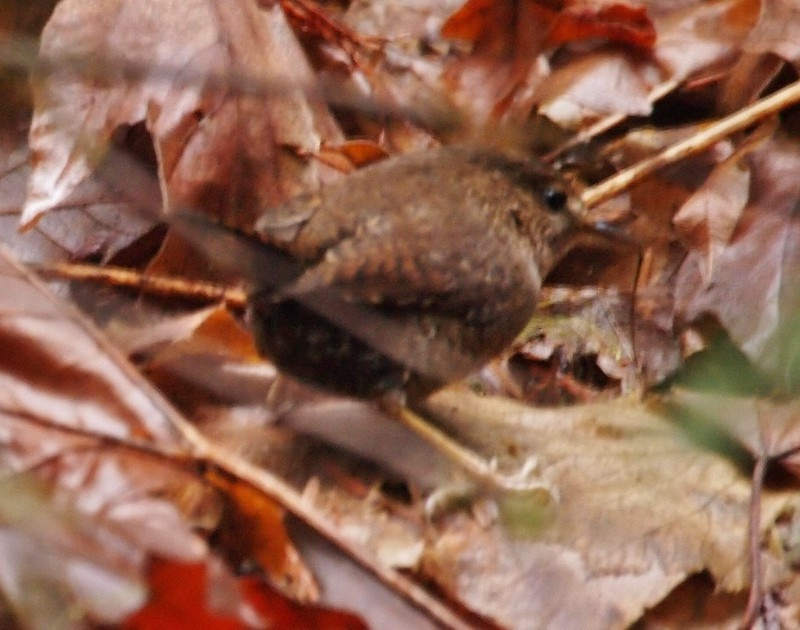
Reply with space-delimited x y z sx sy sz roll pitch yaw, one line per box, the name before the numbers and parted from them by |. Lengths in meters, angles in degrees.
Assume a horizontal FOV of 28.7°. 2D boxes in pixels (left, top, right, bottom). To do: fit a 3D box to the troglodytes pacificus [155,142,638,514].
troglodytes pacificus | 0.004 -0.019 0.808 0.155 0.100 0.162 17 73 8
